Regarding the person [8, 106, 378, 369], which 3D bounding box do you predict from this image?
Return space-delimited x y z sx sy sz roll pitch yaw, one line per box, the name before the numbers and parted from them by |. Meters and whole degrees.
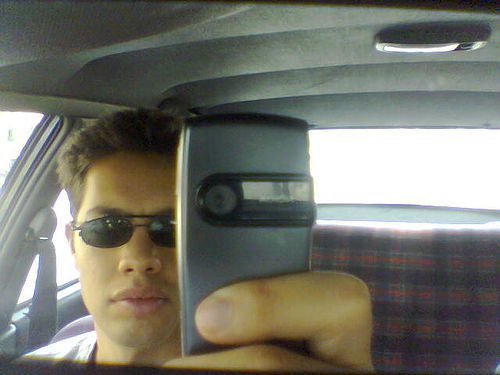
person | -0.169 0.098 1.247 1.019 0.540 0.219 -3 5 5
